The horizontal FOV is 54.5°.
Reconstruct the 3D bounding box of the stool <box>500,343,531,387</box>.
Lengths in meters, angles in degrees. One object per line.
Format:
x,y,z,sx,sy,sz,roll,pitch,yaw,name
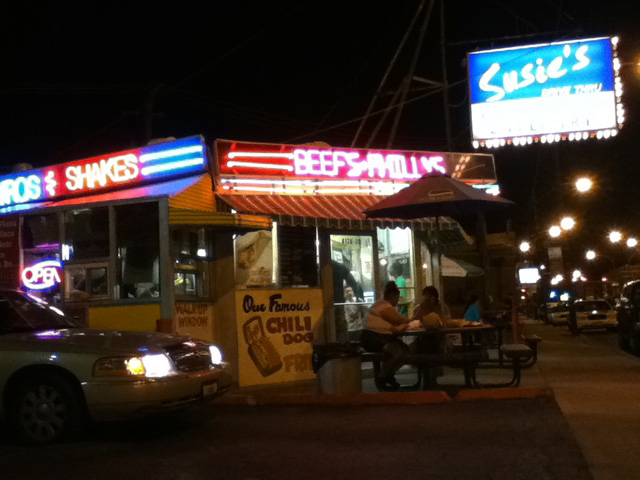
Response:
3.744,2.443,11.985,0.304,0.376,1.052,-1,-4,7,stool

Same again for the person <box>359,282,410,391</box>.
1.173,1.744,11.049,0.837,1.944,0.863,-5,-4,22,person

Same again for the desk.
2.148,2.202,11.288,1.931,1.058,2.209,-4,-8,7,desk

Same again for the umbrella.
2.023,-0.167,11.588,2.773,2.103,2.855,-1,-6,-18,umbrella
